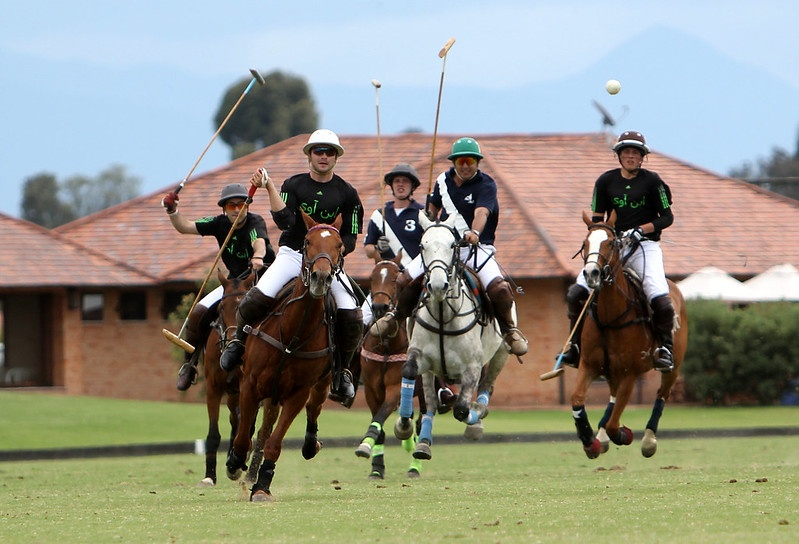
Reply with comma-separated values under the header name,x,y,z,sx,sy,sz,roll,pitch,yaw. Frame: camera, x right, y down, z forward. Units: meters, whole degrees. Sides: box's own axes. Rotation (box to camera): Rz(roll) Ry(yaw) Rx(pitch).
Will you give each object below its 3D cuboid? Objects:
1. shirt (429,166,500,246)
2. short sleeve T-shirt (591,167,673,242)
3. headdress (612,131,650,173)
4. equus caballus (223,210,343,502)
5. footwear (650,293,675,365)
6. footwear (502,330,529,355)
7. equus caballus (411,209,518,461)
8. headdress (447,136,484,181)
name,x,y,z,sx,sy,sz,roll,pitch,yaw
shirt,1.143,-1.143,25.923,1.069,1.268,1.384,2,15,10
short sleeve T-shirt,4.023,-1.178,26.281,1.498,1.128,0.927,2,2,16
headdress,3.970,-2.060,25.896,0.608,0.675,0.660,-1,-13,20
equus caballus,-1.764,1.337,24.128,1.731,4.616,2.101,2,-3,-14
footwear,4.415,1.049,25.860,0.262,1.079,0.429,-24,-20,31
footwear,1.970,1.173,25.565,0.354,0.424,0.449,-30,7,-19
equus caballus,0.906,1.045,25.137,0.980,4.117,2.283,-1,-4,35
headdress,1.141,-1.936,25.891,0.646,0.732,0.738,-2,2,15
